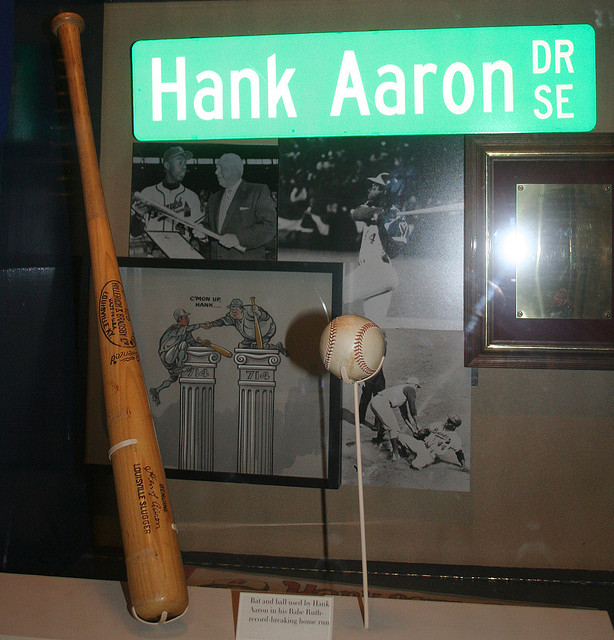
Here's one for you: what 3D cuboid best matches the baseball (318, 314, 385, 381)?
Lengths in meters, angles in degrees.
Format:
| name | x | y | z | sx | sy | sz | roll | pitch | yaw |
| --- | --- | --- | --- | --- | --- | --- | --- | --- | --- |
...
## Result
| name | x | y | z | sx | sy | sz | roll | pitch | yaw |
| --- | --- | --- | --- | --- | --- | --- | --- | --- | --- |
| baseball | 0.127 | 0.076 | 2.077 | 0.152 | 0.174 | 0.199 | 10 | 44 | -19 |
